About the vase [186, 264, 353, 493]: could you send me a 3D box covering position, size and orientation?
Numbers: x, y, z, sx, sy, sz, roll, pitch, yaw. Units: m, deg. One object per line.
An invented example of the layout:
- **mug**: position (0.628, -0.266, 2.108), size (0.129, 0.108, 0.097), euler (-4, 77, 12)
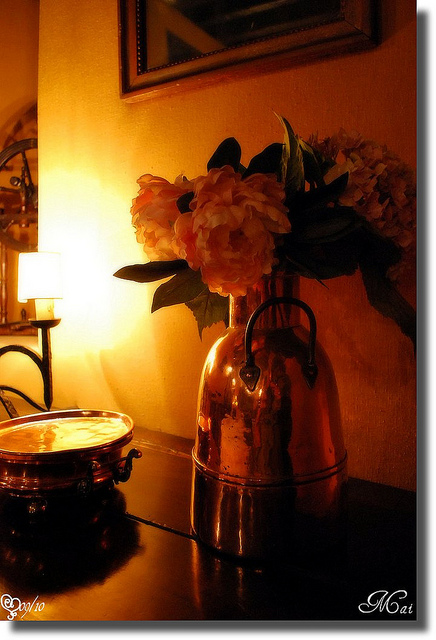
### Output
- **vase**: position (0.040, 0.028, 0.481), size (0.116, 0.172, 0.131), euler (-5, 26, -6)

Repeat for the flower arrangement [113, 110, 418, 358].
- **flower arrangement**: position (0.057, -0.069, 0.486), size (0.236, 0.158, 0.223), euler (12, 30, 37)
